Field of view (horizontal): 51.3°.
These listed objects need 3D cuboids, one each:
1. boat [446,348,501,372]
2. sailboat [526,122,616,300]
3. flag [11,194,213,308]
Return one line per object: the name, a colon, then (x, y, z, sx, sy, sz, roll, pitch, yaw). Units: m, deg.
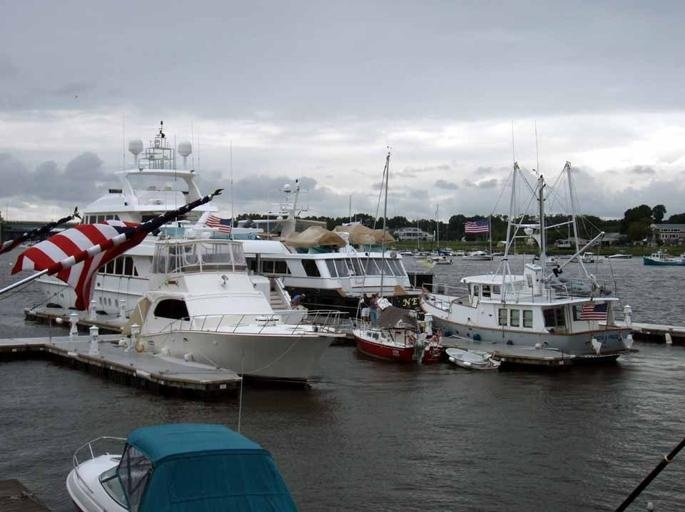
boat: (5.470, 4.360, 30.493, 0.852, 0.429, 1.677, -6, 7, -33)
sailboat: (16.208, -0.073, 50.791, 3.551, 10.806, 3.362, -6, 6, -32)
flag: (-6.650, 0.376, 18.571, 3.547, 2.954, 5.502, -2, 9, -24)
